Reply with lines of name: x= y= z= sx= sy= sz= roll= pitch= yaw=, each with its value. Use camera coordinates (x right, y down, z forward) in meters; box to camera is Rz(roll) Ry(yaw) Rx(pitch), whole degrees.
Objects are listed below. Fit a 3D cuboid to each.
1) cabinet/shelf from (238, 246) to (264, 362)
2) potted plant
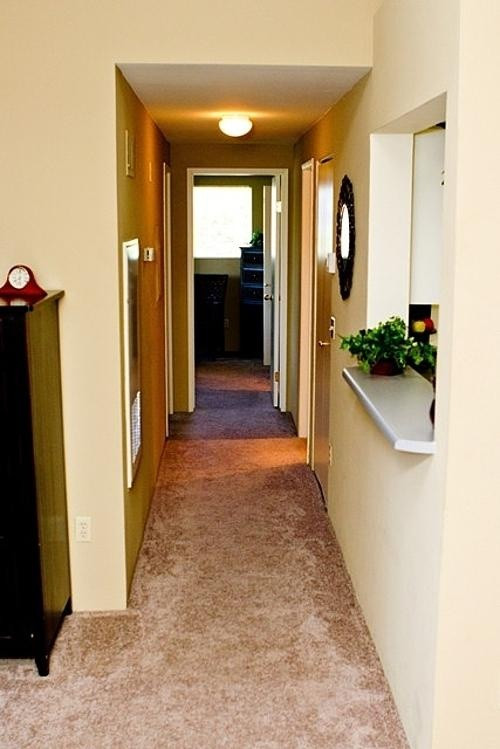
cabinet/shelf: x=-0.007 y=-1.150 z=8.699 sx=0.246 sy=1.761 sz=0.436 roll=-1 pitch=9 yaw=-8
potted plant: x=0.613 y=-0.112 z=2.368 sx=0.485 sy=0.259 sz=0.312 roll=-2 pitch=4 yaw=-41
